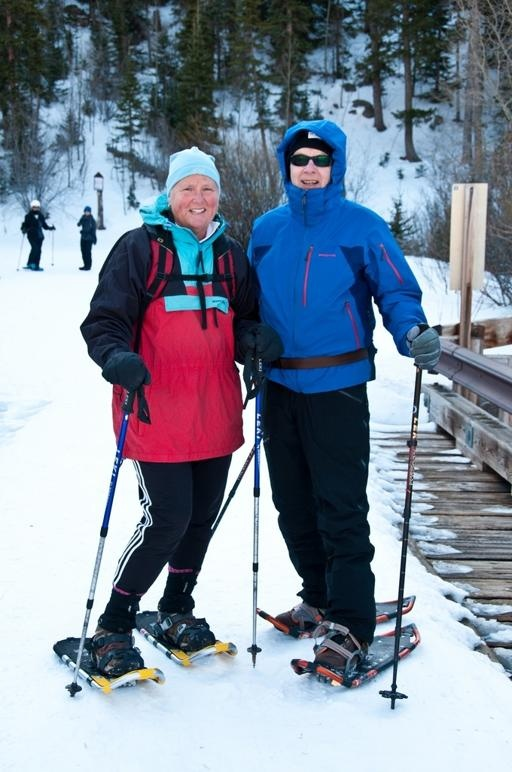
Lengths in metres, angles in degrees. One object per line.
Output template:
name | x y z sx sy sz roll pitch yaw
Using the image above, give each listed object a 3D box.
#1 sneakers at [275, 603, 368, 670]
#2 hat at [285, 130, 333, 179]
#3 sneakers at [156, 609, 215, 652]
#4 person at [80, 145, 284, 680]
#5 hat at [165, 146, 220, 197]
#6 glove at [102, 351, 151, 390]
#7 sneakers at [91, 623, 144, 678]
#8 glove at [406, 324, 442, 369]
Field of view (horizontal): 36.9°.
sneakers | 0.283 0.927 2.765 0.392 0.155 0.130 31 -5 -24
hat | 0.196 -0.879 2.882 0.132 0.149 0.161 4 45 0
sneakers | -0.262 0.908 2.867 0.127 0.075 0.187 8 8 -38
person | -0.269 0.066 2.731 0.703 1.830 0.488 -4 11 -30
hat | -0.240 -0.791 2.793 0.180 0.151 0.186 7 -16 -39
glove | -0.420 -0.050 2.455 0.121 0.121 0.213 -5 11 -37
sneakers | -0.495 0.936 2.704 0.177 0.143 0.311 2 -2 -24
glove | 0.562 -0.135 2.633 0.120 0.141 0.069 -8 -2 -26
